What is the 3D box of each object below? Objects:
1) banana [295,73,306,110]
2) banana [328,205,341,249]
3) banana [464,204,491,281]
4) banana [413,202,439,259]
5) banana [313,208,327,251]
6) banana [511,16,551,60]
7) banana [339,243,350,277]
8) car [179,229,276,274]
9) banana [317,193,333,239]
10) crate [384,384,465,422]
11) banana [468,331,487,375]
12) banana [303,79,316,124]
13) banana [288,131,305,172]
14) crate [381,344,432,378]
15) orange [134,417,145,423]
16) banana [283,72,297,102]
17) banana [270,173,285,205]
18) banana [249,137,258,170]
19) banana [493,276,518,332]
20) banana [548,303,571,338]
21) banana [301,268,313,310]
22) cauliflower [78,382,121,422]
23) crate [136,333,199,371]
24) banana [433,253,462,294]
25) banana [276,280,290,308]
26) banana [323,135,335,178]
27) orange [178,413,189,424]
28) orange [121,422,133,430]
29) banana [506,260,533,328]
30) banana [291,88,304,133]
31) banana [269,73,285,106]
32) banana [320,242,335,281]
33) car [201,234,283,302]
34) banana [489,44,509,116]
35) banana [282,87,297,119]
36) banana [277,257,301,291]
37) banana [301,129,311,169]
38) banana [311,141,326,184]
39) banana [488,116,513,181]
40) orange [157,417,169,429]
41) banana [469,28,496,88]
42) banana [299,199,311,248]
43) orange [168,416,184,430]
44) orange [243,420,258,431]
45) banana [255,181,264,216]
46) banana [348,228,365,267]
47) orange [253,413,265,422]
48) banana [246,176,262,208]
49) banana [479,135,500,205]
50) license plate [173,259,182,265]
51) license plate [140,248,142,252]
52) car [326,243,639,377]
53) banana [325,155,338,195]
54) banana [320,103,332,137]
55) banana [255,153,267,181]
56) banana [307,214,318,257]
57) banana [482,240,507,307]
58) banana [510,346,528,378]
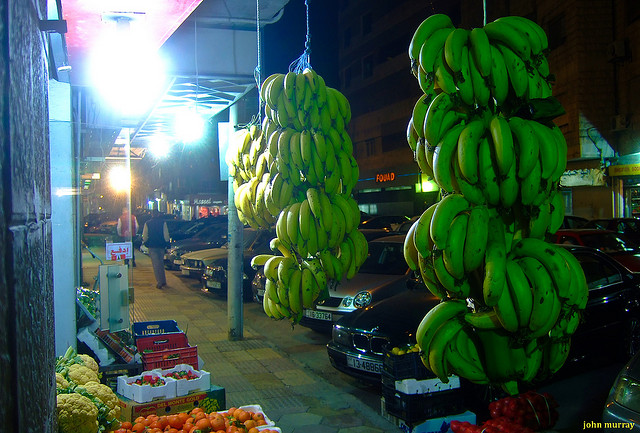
[{"bbox_3d":[-0.187,-1.146,4.561,0.076,0.316,0.106,-1,-12,-9],"label":"banana"},{"bbox_3d":[0.125,0.108,4.547,0.113,0.367,0.080,7,6,43],"label":"banana"},{"bbox_3d":[1.108,0.166,3.507,0.131,0.555,0.168,14,-15,-4],"label":"banana"},{"bbox_3d":[0.769,0.132,3.646,0.146,0.470,0.115,18,-2,-35],"label":"banana"},{"bbox_3d":[0.011,0.134,4.517,0.081,0.382,0.126,-12,22,-24],"label":"banana"},{"bbox_3d":[1.647,-1.438,3.882,0.224,0.426,0.097,3,-32,-43],"label":"banana"},{"bbox_3d":[0.216,0.426,4.754,0.080,0.324,0.096,-8,-1,-43],"label":"banana"},{"bbox_3d":[-2.376,1.272,14.456,3.257,1.090,1.409,-3,3,-31],"label":"car"},{"bbox_3d":[0.056,0.017,4.495,0.082,0.416,0.108,-10,-9,11],"label":"banana"},{"bbox_3d":[1.123,2.089,5.553,0.481,0.189,0.481,4,-13,-32],"label":"crate"},{"bbox_3d":[1.187,1.014,3.735,0.092,0.369,0.120,-18,-3,5],"label":"banana"},{"bbox_3d":[-0.107,-1.054,4.585,0.073,0.384,0.125,3,2,-17],"label":"banana"},{"bbox_3d":[-0.220,-0.570,4.515,0.099,0.409,0.128,-19,-13,40],"label":"banana"},{"bbox_3d":[1.005,1.699,5.758,0.490,0.335,0.512,1,-9,-14],"label":"crate"},{"bbox_3d":[-1.603,1.808,4.402,0.056,0.071,0.056,21,7,-35],"label":"orange"},{"bbox_3d":[-0.278,-1.200,4.577,0.094,0.305,0.076,13,-22,-32],"label":"banana"},{"bbox_3d":[-0.407,-0.262,4.623,0.079,0.329,0.103,7,-5,20],"label":"banana"},{"bbox_3d":[-0.687,-0.637,5.112,0.067,0.298,0.100,5,1,26],"label":"banana"},{"bbox_3d":[1.274,0.585,3.473,0.104,0.431,0.133,-10,-4,0],"label":"banana"},{"bbox_3d":[1.748,0.759,3.619,0.053,0.176,0.220,11,45,34],"label":"banana"},{"bbox_3d":[-0.120,0.671,4.540,0.106,0.373,0.180,1,2,-3],"label":"banana"},{"bbox_3d":[-1.834,1.546,4.240,0.282,0.209,0.384,10,-4,16],"label":"cauliflower"},{"bbox_3d":[-1.765,1.555,5.752,0.589,0.307,0.382,4,-8,-32],"label":"crate"},{"bbox_3d":[0.913,0.409,3.527,0.225,0.295,0.102,-1,2,-32],"label":"banana"},{"bbox_3d":[-0.348,0.737,4.629,0.090,0.292,0.072,-14,3,-37],"label":"banana"},{"bbox_3d":[0.079,-0.543,4.554,0.073,0.357,0.109,-4,3,-40],"label":"banana"},{"bbox_3d":[-1.225,1.819,4.459,0.055,0.073,0.059,4,25,8],"label":"orange"},{"bbox_3d":[-1.640,1.775,4.201,0.052,0.057,0.056,0,-9,28],"label":"orange"},{"bbox_3d":[1.380,0.532,3.480,0.120,0.483,0.148,5,-22,-33],"label":"banana"},{"bbox_3d":[-0.210,-0.970,4.612,0.083,0.411,0.127,-5,7,-3],"label":"banana"},{"bbox_3d":[-0.416,-1.186,4.679,0.102,0.326,0.081,27,-27,-28],"label":"banana"},{"bbox_3d":[0.069,0.444,4.670,0.086,0.390,0.119,-13,-4,39],"label":"banana"},{"bbox_3d":[-2.326,1.277,12.759,3.508,1.306,1.456,1,0,-18],"label":"car"},{"bbox_3d":[1.333,-1.006,3.671,0.118,0.539,0.164,2,-10,-21],"label":"banana"},{"bbox_3d":[-0.277,-1.007,4.569,0.102,0.324,0.071,-22,11,-30],"label":"banana"},{"bbox_3d":[-0.287,0.539,4.610,0.078,0.286,0.208,8,-18,-38],"label":"banana"},{"bbox_3d":[-0.127,-0.597,4.434,0.069,0.323,0.104,-10,-14,15],"label":"banana"},{"bbox_3d":[-0.012,-0.500,4.553,0.108,0.367,0.175,1,2,14],"label":"banana"},{"bbox_3d":[1.275,-0.474,3.467,0.140,0.453,0.184,1,2,8],"label":"banana"},{"bbox_3d":[-1.393,1.817,4.388,0.074,0.080,0.079,11,3,24],"label":"orange"},{"bbox_3d":[1.184,-1.185,3.668,0.110,0.527,0.124,-9,-28,2],"label":"banana"},{"bbox_3d":[-0.112,0.050,4.443,0.075,0.364,0.125,3,-12,6],"label":"banana"},{"bbox_3d":[-1.293,1.825,4.394,0.155,0.096,0.083,1,2,12],"label":"orange"},{"bbox_3d":[-0.606,1.802,4.316,0.066,0.072,0.069,15,19,29],"label":"orange"},{"bbox_3d":[-0.575,-0.171,4.903,0.068,0.321,0.102,2,-3,24],"label":"banana"},{"bbox_3d":[0.365,0.288,4.811,0.138,0.447,0.096,-16,-10,33],"label":"banana"},{"bbox_3d":[-0.557,1.828,4.482,0.100,0.061,0.145,1,2,-5],"label":"orange"},{"bbox_3d":[-0.691,-0.270,5.075,0.139,0.434,0.096,4,2,-11],"label":"banana"},{"bbox_3d":[1.186,-0.321,3.526,0.149,0.495,0.120,-2,-5,-41],"label":"banana"},{"bbox_3d":[-4.735,1.513,16.436,0.210,0.211,0.057,0,-1,38],"label":"license plate"},{"bbox_3d":[-7.216,1.355,19.862,0.040,0.161,0.148,7,-19,-29],"label":"license plate"},{"bbox_3d":[2.627,1.462,7.331,4.758,1.642,2.034,1,-3,-20],"label":"car"},{"bbox_3d":[0.105,-0.375,4.640,0.071,0.374,0.115,8,-2,-38],"label":"banana"},{"bbox_3d":[0.057,-0.895,4.639,0.076,0.311,0.097,-4,-6,-3],"label":"banana"},{"bbox_3d":[-0.595,-0.499,4.988,0.073,0.294,0.090,16,11,42],"label":"banana"},{"bbox_3d":[-0.064,0.178,4.528,0.076,0.386,0.129,0,7,2],"label":"banana"},{"bbox_3d":[1.222,0.372,3.469,0.125,0.515,0.169,18,-27,-7],"label":"banana"},{"bbox_3d":[1.459,1.068,3.618,0.136,0.230,0.052,0,2,-15],"label":"banana"}]
